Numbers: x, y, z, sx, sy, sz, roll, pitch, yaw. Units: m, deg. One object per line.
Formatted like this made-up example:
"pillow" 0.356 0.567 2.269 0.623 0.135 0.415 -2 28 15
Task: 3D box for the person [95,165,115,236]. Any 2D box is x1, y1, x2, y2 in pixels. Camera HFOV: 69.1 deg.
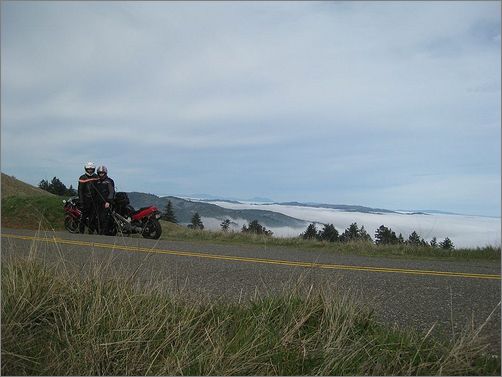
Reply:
"person" -5.053 0.428 12.558 0.635 2.395 1.301 3 -3 -23

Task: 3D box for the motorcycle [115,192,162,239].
"motorcycle" -3.900 0.957 12.602 1.787 1.510 0.708 1 -3 22

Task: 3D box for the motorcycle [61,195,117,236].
"motorcycle" -5.540 0.963 12.631 2.048 1.324 1.175 7 -4 9
